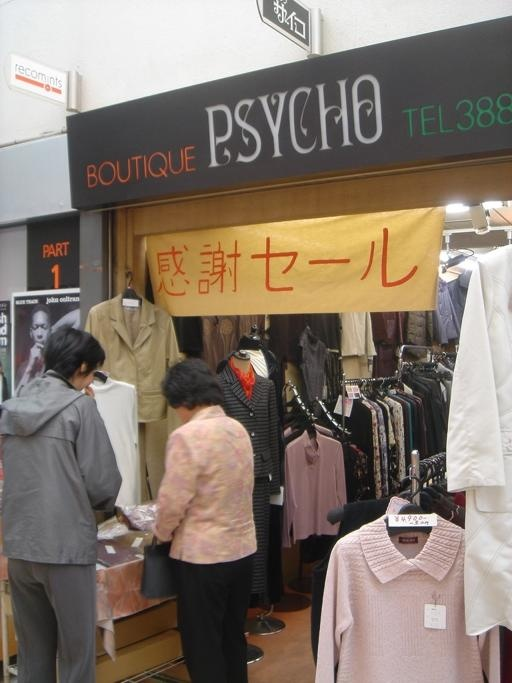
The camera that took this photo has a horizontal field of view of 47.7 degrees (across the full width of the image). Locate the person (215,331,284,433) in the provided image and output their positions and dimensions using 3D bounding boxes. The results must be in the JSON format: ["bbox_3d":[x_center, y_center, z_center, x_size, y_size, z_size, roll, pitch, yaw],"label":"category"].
[{"bbox_3d":[-0.027,0.300,3.739,0.337,1.038,0.247,-4,33,-7],"label":"person"}]

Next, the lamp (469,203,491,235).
[{"bbox_3d":[1.068,-0.594,2.758,0.075,0.133,0.545,-2,-2,22],"label":"lamp"}]
